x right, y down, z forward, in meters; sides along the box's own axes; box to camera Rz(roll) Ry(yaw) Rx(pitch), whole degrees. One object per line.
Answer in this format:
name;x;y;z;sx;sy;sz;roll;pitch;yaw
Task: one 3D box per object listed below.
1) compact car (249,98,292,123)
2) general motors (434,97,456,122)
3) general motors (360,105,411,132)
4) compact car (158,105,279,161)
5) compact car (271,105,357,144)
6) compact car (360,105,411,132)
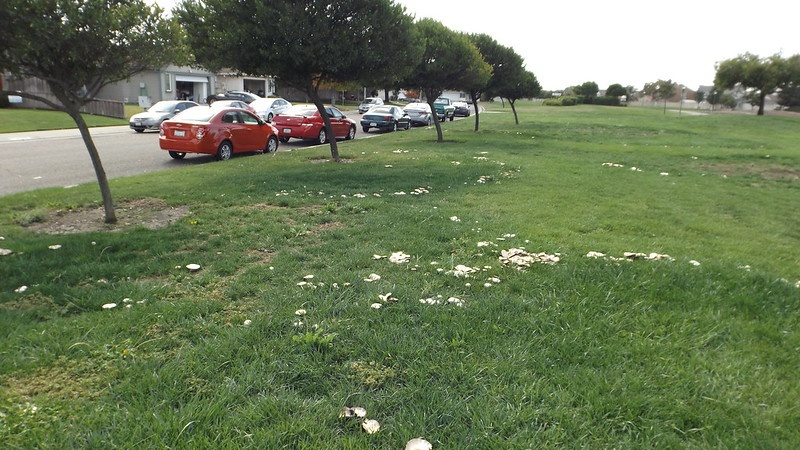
compact car;-8.024;-7.285;34.370;1.958;1.174;3.560;4;16;12
general motors;3.308;-9.769;46.073;2.159;2.001;4.488;1;13;8
general motors;-0.674;-6.613;34.156;1.493;1.003;3.170;8;24;20
compact car;-6.726;-3.730;21.126;2.020;1.480;4.132;9;18;24
compact car;-3.922;-5.005;27.309;1.777;1.234;3.924;7;19;26
compact car;-0.995;-6.616;34.221;2.293;1.606;3.030;1;17;12
